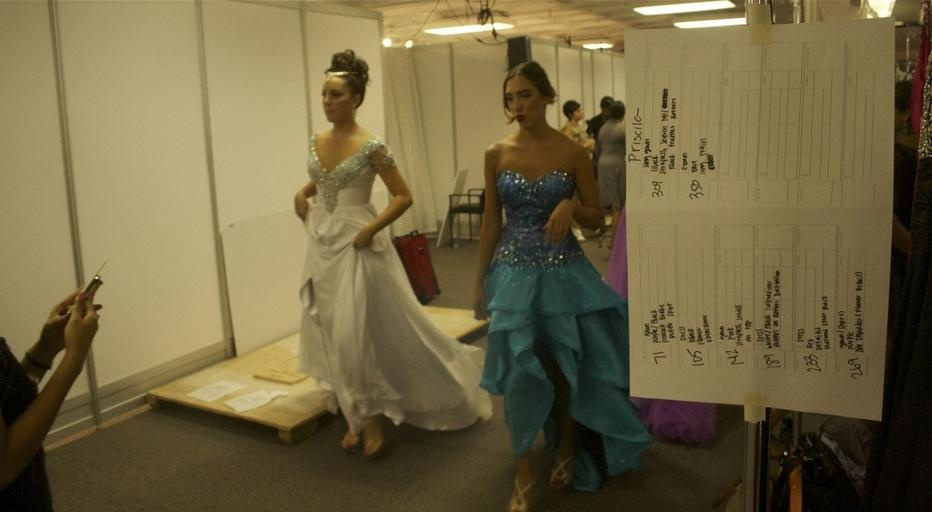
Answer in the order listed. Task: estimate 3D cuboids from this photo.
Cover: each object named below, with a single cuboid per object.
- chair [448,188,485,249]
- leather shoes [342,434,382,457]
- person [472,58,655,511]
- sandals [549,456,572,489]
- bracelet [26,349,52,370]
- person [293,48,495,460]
[{"bbox_3d":[-0.010,-0.548,9.254,0.564,0.913,0.741,5,15,15],"label":"chair"},{"bbox_3d":[-0.731,1.311,4.610,0.305,0.114,0.145,7,17,34],"label":"leather shoes"},{"bbox_3d":[0.551,0.190,3.972,1.098,2.637,0.874,4,17,27],"label":"person"},{"bbox_3d":[0.616,1.377,4.217,0.113,0.210,0.090,-5,-37,47],"label":"sandals"},{"bbox_3d":[-1.951,0.477,2.959,0.102,0.038,0.103,17,-1,36],"label":"bracelet"},{"bbox_3d":[-0.654,-0.047,4.612,1.372,2.687,0.888,-2,15,6],"label":"person"}]
